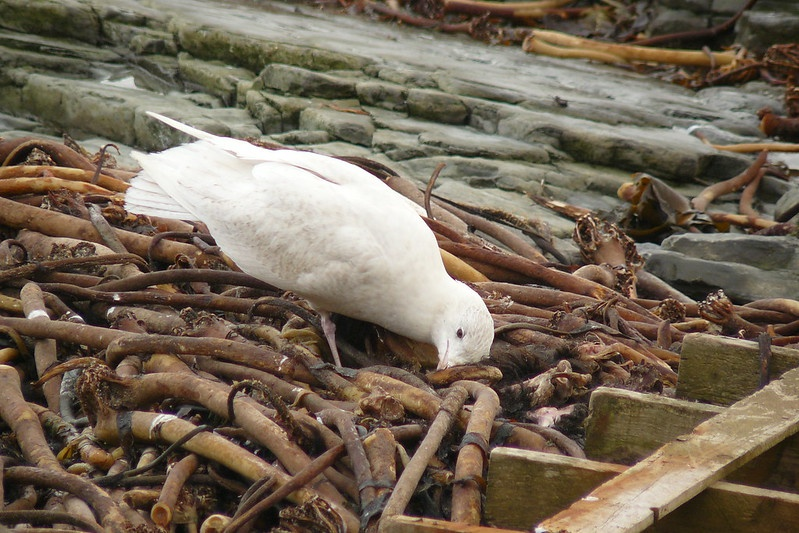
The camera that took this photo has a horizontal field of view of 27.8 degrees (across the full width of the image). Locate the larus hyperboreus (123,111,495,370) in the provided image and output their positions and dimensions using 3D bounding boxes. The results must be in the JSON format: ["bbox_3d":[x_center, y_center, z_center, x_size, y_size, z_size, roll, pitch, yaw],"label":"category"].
[{"bbox_3d":[-0.909,-0.188,20.332,4.535,2.209,0.926,14,17,16],"label":"larus hyperboreus"}]
